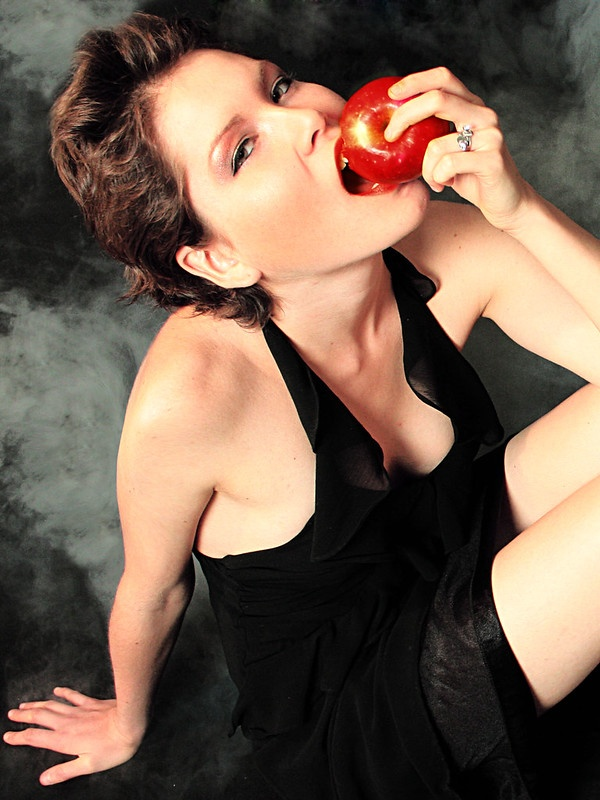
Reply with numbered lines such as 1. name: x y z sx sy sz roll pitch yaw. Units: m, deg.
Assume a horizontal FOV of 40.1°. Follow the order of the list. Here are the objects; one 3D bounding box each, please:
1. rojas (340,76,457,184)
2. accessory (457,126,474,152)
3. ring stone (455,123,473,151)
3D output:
1. rojas: 0.106 -0.347 1.083 0.162 0.139 0.133 -1 70 -3
2. accessory: 0.219 -0.350 1.097 0.026 0.010 0.029 -6 101 -22
3. ring stone: 0.219 -0.350 1.097 0.026 0.010 0.028 -9 104 -28
